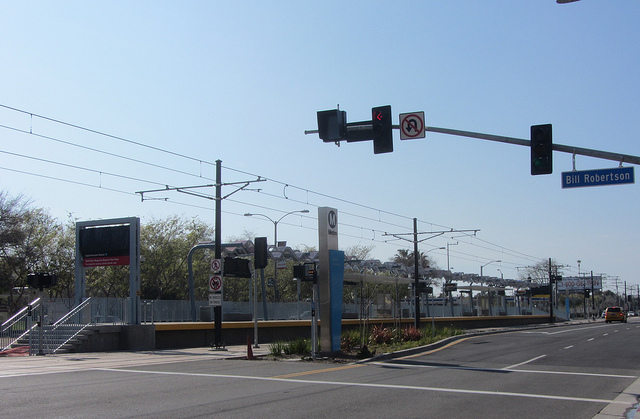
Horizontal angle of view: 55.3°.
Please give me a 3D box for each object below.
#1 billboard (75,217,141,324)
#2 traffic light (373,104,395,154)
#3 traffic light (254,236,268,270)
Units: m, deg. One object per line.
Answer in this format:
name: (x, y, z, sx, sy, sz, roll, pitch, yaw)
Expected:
billboard: (-11.402, 3.291, 32.705, 4.749, 5.547, 0.925, -5, -13, 30)
traffic light: (2.337, -3.051, 23.652, 0.831, 2.106, 0.225, 0, -22, 0)
traffic light: (-2.929, 2.078, 29.800, 0.582, 1.638, 0.154, -2, 17, -10)
